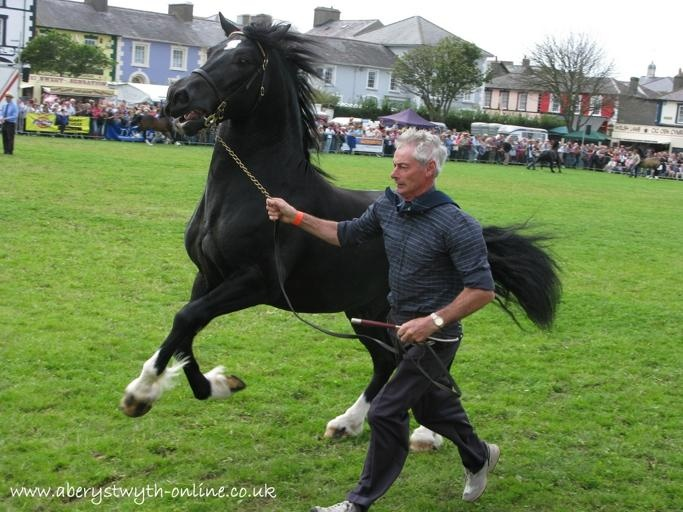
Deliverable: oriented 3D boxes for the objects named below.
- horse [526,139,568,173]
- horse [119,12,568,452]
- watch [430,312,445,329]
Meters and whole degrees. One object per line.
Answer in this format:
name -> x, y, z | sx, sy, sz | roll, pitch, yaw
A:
horse -> 10.945, -5.174, 33.651 | 0.524, 1.093, 2.194 | -35, 18, -33
horse -> -0.548, -0.373, 6.027 | 1.270, 3.068, 4.353 | 22, 9, 18
watch -> 0.581, 0.382, 3.884 | 0.075, 0.097, 0.093 | -37, 1, -4
